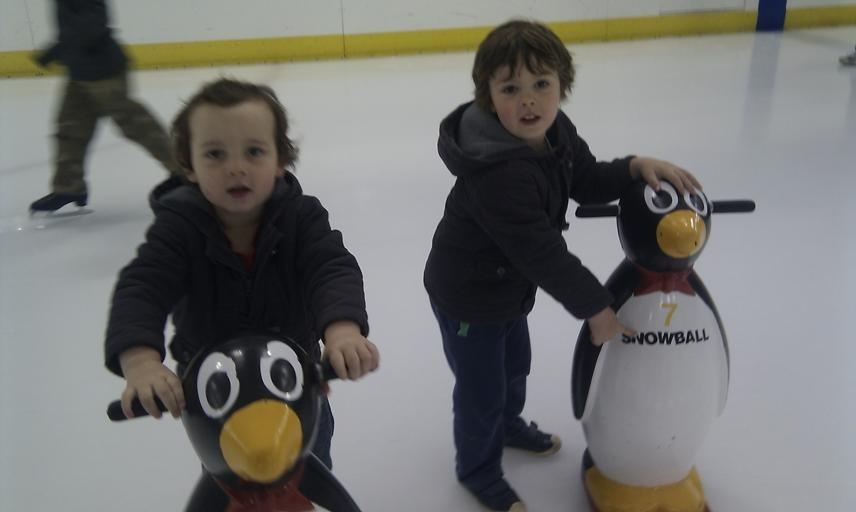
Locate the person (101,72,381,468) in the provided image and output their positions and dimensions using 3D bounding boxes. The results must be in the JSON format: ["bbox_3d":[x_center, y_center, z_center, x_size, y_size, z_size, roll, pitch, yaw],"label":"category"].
[{"bbox_3d":[-0.638,-0.046,2.630,0.880,1.076,0.373,-4,10,-4],"label":"person"}]

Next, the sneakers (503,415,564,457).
[{"bbox_3d":[0.410,0.754,3.272,0.307,0.133,0.106,7,45,7],"label":"sneakers"}]

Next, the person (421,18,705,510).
[{"bbox_3d":[0.377,0.063,3.001,0.808,1.876,0.425,-3,11,-1],"label":"person"}]
